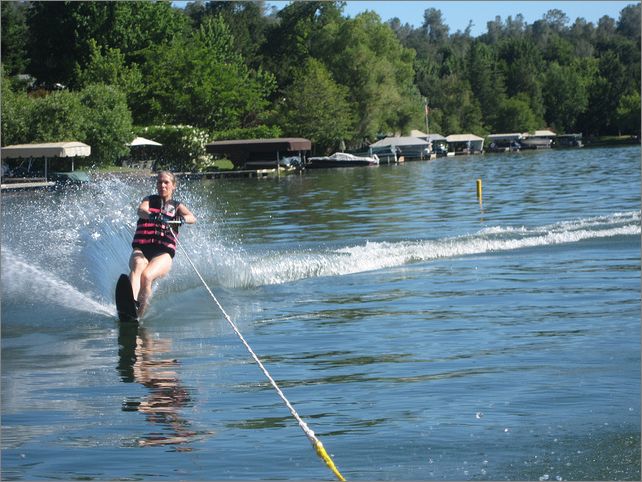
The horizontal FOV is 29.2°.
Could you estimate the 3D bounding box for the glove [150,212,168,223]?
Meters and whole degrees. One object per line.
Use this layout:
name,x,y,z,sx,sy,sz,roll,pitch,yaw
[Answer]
glove,-4.549,-0.641,34.324,0.515,0.283,0.128,-4,4,-1
